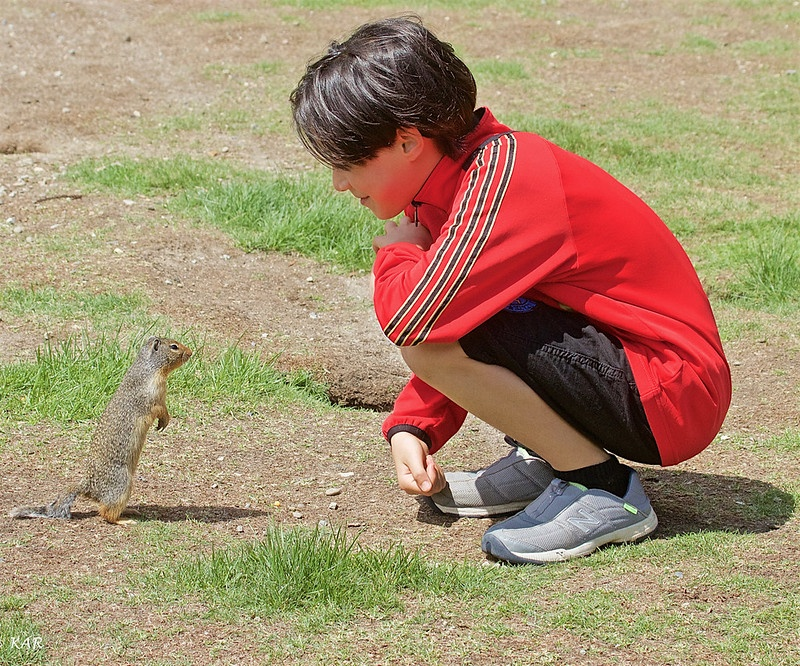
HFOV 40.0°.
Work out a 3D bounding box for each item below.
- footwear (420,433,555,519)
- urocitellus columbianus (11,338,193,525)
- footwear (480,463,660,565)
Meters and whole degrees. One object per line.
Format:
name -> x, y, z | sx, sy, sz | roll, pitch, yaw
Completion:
footwear -> 0.478, 0.573, 4.245 | 0.803, 0.246, 0.301 | -10, -5, 41
urocitellus columbianus -> -1.101, 0.350, 4.057 | 0.426, 0.611, 0.531 | 13, 18, -5
footwear -> 0.603, 0.640, 3.866 | 0.717, 0.234, 0.244 | -8, 18, -30
